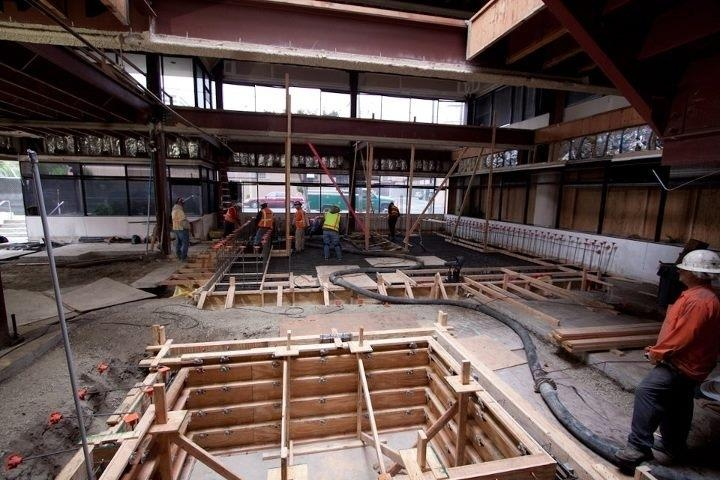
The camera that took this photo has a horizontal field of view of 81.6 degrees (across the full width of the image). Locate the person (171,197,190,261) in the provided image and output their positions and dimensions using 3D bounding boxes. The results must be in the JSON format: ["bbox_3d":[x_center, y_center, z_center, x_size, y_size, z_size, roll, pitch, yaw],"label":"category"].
[{"bbox_3d":[-5.150,-0.321,12.015,0.401,1.774,0.509,-2,9,-22],"label":"person"}]

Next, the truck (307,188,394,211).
[{"bbox_3d":[-0.632,-1.811,20.543,4.451,1.453,1.489,-2,12,-6],"label":"truck"}]

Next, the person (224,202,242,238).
[{"bbox_3d":[-4.525,-0.727,14.741,0.654,0.653,1.751,10,-26,-19],"label":"person"}]

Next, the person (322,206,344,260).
[{"bbox_3d":[-0.788,-0.248,12.212,0.533,1.594,0.704,-1,8,-17],"label":"person"}]

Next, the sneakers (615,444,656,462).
[{"bbox_3d":[3.458,2.711,5.279,0.490,0.214,0.186,1,-12,0],"label":"sneakers"}]

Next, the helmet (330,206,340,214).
[{"bbox_3d":[-0.720,-0.899,12.059,0.246,0.226,0.599,1,6,-4],"label":"helmet"}]
